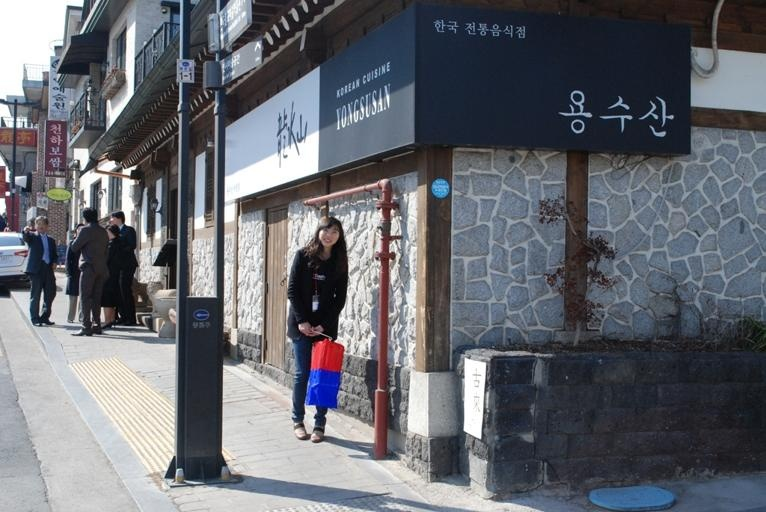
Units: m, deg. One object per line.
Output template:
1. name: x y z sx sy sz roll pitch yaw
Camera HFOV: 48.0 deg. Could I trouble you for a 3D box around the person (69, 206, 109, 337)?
1. person: -5.378 0.296 15.801 0.663 2.382 0.761 -2 10 -17
